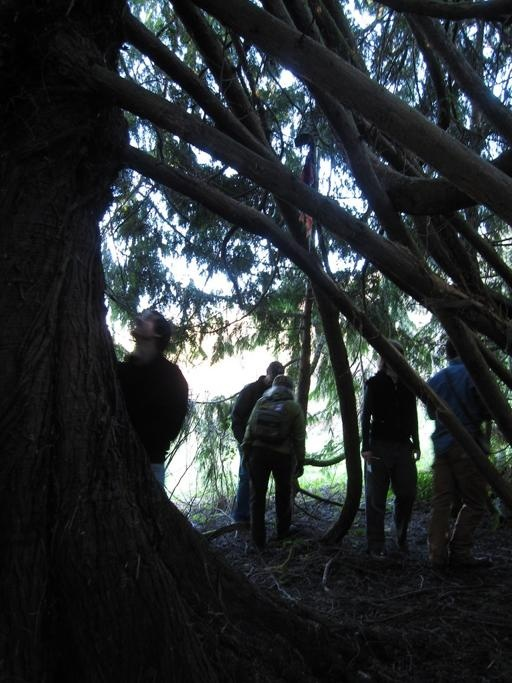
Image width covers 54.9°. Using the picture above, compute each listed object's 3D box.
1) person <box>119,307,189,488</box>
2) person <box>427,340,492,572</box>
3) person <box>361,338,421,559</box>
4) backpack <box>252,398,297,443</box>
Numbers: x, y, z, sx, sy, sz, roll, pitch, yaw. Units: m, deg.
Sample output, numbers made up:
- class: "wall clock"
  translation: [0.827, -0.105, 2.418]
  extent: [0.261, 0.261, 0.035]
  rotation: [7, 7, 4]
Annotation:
- class: "person"
  translation: [-0.538, 0.247, 2.377]
  extent: [0.280, 0.903, 0.508]
  rotation: [-2, -7, 14]
- class: "person"
  translation: [1.511, 0.810, 3.715]
  extent: [0.479, 1.702, 1.378]
  rotation: [-4, -8, 26]
- class: "person"
  translation: [1.124, 0.946, 4.132]
  extent: [0.498, 1.551, 0.295]
  rotation: [-1, -7, 4]
- class: "backpack"
  translation: [0.165, 0.774, 4.437]
  extent: [0.248, 0.463, 0.406]
  rotation: [-1, -28, 22]
